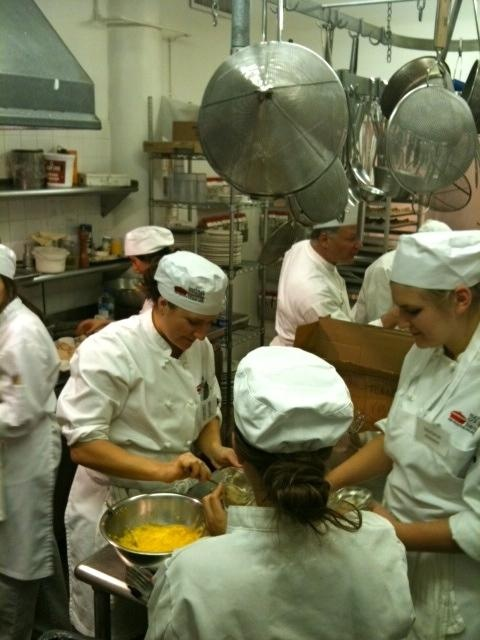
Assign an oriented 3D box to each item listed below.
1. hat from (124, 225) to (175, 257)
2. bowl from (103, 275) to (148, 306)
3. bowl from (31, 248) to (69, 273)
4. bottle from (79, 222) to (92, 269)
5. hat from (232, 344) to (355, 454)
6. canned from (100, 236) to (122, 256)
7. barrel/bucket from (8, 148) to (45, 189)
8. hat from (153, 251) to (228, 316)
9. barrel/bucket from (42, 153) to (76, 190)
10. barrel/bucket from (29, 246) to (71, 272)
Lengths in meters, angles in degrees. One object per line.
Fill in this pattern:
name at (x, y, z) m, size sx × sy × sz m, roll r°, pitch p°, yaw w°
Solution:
hat at (-0.517, -0.446, 3.323) m, size 0.230 × 0.124 × 0.171 m, roll -5°, pitch 15°, yaw -8°
bowl at (-0.731, -0.179, 3.749) m, size 0.253 × 0.111 × 0.239 m, roll 2°, pitch 24°, yaw -1°
bowl at (-1.148, -0.376, 3.570) m, size 0.172 × 0.117 × 0.174 m, roll 1°, pitch 10°, yaw 0°
bottle at (-1.031, -0.494, 3.943) m, size 0.073 × 0.288 × 0.096 m, roll 11°, pitch 16°, yaw 23°
hat at (0.080, 0.122, 0.990) m, size 0.181 × 0.118 × 0.230 m, roll -6°, pitch 21°, yaw -14°
canned at (-0.919, -0.539, 4.218) m, size 0.149 × 0.156 × 0.141 m, roll -3°, pitch 14°, yaw -14°
barrel/bucket at (-1.232, -0.877, 3.452) m, size 0.184 × 0.214 × 0.166 m, roll -3°, pitch 16°, yaw -15°
hat at (-0.136, -0.128, 1.704) m, size 0.230 × 0.137 × 0.176 m, roll 20°, pitch 27°, yaw 17°
barrel/bucket at (-1.066, -0.891, 3.631) m, size 0.234 × 0.260 × 0.222 m, roll 2°, pitch 10°, yaw 0°
barrel/bucket at (-1.158, -0.374, 3.579) m, size 0.171 × 0.120 × 0.173 m, roll 2°, pitch 7°, yaw 0°
